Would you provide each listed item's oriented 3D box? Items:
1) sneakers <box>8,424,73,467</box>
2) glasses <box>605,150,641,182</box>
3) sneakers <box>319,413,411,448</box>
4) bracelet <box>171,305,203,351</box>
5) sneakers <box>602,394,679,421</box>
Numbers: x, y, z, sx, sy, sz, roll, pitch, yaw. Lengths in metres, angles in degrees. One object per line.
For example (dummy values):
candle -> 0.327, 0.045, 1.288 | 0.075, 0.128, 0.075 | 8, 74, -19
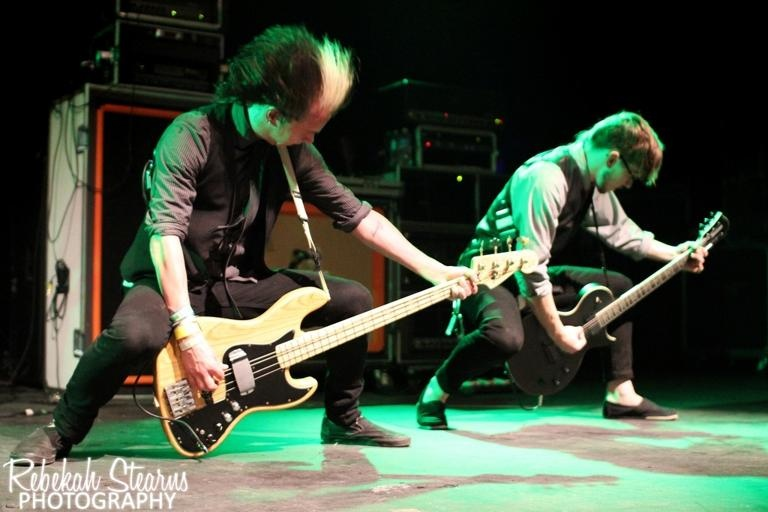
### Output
sneakers -> -1.319, 0.732, 2.745 | 0.112, 0.101, 0.266 | 26, -4, 7
glasses -> 1.237, -0.463, 3.557 | 0.231, 0.139, 0.104 | 0, 1, -42
sneakers -> -0.089, 0.786, 3.159 | 0.414, 0.132, 0.144 | 1, -15, 7
bracelet -> -0.777, 0.283, 2.738 | 0.121, 0.166, 0.059 | -19, -4, -33
sneakers -> 1.378, 0.817, 3.805 | 0.389, 0.114, 0.139 | 0, -9, 7
